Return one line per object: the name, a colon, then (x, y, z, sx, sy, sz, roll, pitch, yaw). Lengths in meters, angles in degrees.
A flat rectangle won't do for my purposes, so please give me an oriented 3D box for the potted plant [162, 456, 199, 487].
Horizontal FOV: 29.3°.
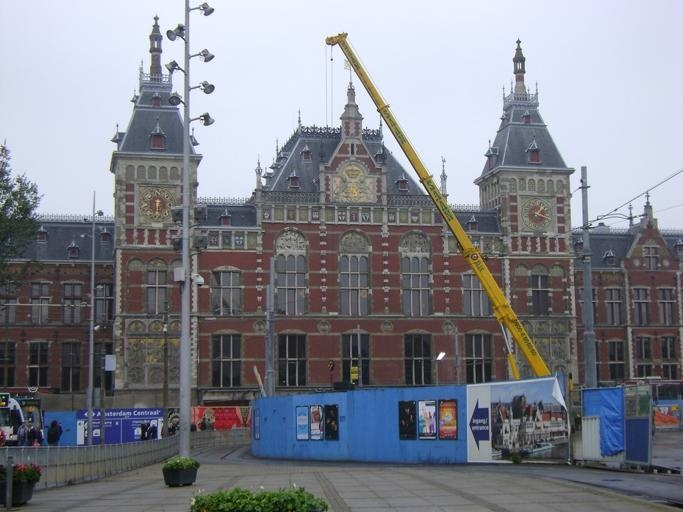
potted plant: (-7.179, 9.625, 58.210, 1.515, 1.350, 0.713, -1, -12, -7)
